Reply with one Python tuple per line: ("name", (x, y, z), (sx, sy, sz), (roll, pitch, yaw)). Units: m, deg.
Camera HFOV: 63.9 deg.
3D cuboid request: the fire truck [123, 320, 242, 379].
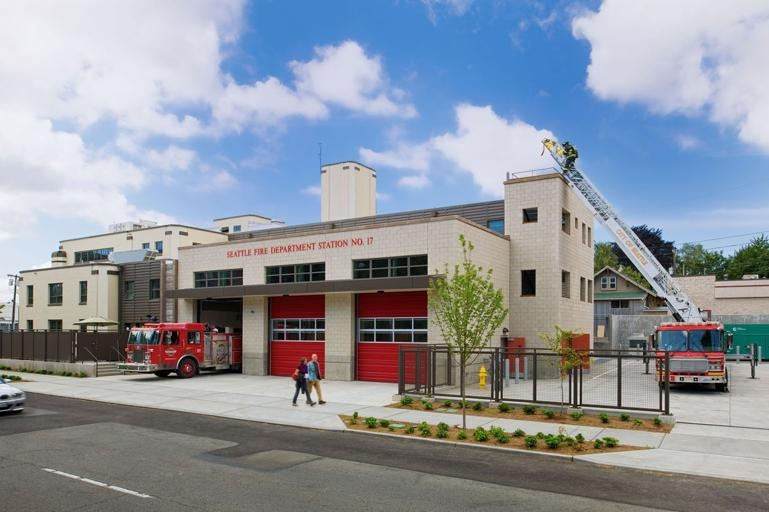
("fire truck", (-12.592, 5.878, 39.023), (2.403, 3.460, 7.521), (-3, -3, 43))
